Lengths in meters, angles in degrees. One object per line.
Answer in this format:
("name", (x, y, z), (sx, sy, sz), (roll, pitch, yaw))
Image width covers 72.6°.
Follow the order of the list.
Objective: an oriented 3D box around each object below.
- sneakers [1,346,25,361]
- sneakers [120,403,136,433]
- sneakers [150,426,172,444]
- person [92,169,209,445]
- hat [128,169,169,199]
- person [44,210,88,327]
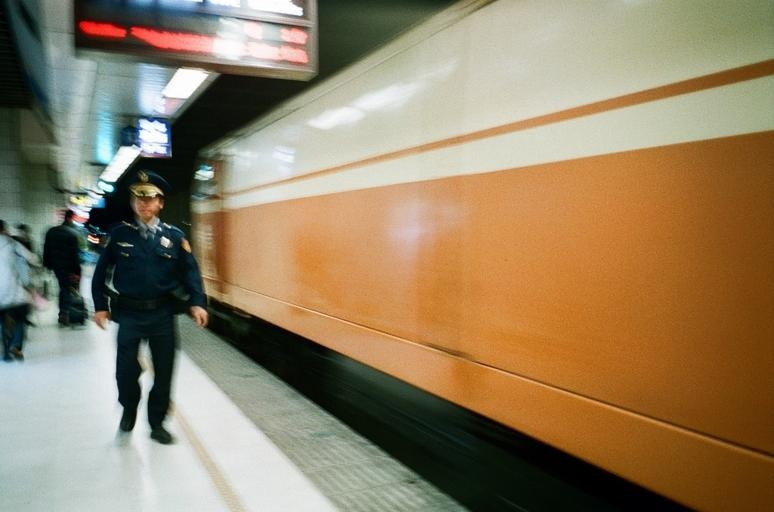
("sneakers", (-4.759, 1.249, 6.659), (0.250, 0.084, 0.178), (-11, 5, -20))
("sneakers", (-2.136, 1.341, 4.396), (0.118, 0.329, 0.133), (11, 21, -16))
("sneakers", (-1.794, 1.426, 4.187), (0.210, 0.141, 0.093), (4, -10, -16))
("person", (-1.892, 0.410, 4.206), (0.831, 2.154, 0.427), (-4, 8, -21))
("hat", (-1.885, -0.574, 4.171), (0.279, 0.221, 0.308), (-4, 7, -24))
("person", (-5.144, 0.237, 8.379), (0.526, 1.951, 1.221), (-6, 8, -32))
